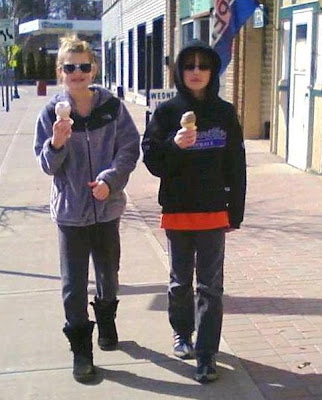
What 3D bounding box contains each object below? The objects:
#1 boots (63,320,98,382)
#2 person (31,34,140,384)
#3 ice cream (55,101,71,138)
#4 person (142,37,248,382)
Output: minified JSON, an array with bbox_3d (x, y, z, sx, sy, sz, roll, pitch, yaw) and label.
[{"bbox_3d":[-0.426,0.809,2.519,0.170,0.279,0.188,-5,11,-23],"label":"boots"},{"bbox_3d":[-0.392,0.022,2.594,0.461,1.861,0.607,2,11,15],"label":"person"},{"bbox_3d":[-0.465,-0.409,2.288,0.096,0.110,0.111,1,53,-1],"label":"ice cream"},{"bbox_3d":[0.207,0.056,2.535,0.495,1.775,0.472,-8,13,-35],"label":"person"}]
